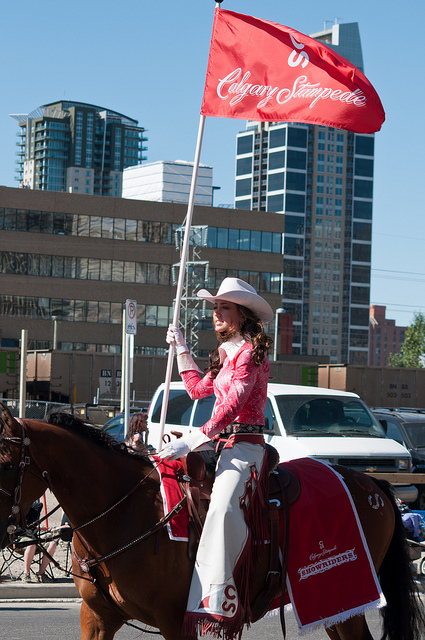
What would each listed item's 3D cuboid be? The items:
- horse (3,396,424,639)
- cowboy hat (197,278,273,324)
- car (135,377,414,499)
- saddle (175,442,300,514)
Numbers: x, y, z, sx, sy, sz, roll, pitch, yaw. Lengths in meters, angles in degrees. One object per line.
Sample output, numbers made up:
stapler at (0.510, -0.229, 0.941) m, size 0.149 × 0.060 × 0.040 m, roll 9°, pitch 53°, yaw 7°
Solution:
horse at (0.060, 1.229, 5.638) m, size 2.688 × 1.323 × 0.717 m, roll 7°, pitch 0°, yaw -27°
cowboy hat at (0.146, -0.134, 5.805) m, size 0.461 × 0.174 × 0.413 m, roll 22°, pitch 9°, yaw 13°
car at (0.638, 1.047, 8.892) m, size 1.789 × 1.309 × 2.732 m, roll 3°, pitch -5°, yaw -34°
saddle at (0.141, 0.893, 5.684) m, size 0.561 × 0.230 × 0.395 m, roll 1°, pitch -3°, yaw -18°
